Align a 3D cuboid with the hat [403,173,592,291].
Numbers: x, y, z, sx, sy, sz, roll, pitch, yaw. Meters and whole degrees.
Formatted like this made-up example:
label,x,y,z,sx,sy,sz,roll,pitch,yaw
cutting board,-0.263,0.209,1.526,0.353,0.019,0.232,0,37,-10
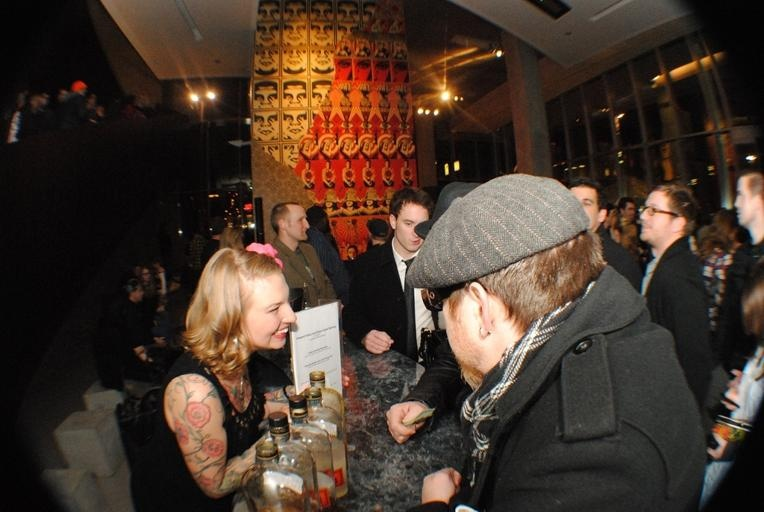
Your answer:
label,x,y,z,sx,sy,sz,roll,pitch,yaw
hat,0.564,-0.131,2.423,0.686,0.277,0.527,-19,8,20
